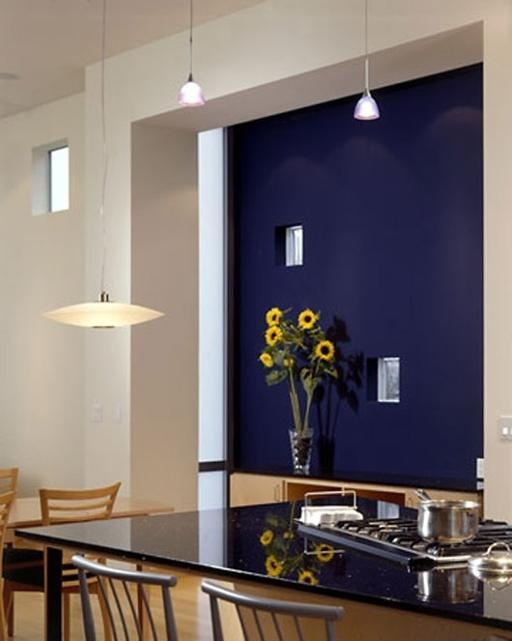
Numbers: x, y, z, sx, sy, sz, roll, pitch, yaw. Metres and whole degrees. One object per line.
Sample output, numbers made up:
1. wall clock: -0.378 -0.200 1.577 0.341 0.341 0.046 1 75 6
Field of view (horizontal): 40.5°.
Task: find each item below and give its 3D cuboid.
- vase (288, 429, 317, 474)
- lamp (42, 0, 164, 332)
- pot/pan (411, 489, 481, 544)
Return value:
1. vase: 0.287 0.855 4.519 0.136 0.286 0.236 -2 -6 9
2. lamp: -0.917 -0.950 4.270 0.555 2.160 1.883 0 -6 -12
3. pot/pan: 0.392 0.409 1.475 0.072 0.110 0.141 1 -8 -11
